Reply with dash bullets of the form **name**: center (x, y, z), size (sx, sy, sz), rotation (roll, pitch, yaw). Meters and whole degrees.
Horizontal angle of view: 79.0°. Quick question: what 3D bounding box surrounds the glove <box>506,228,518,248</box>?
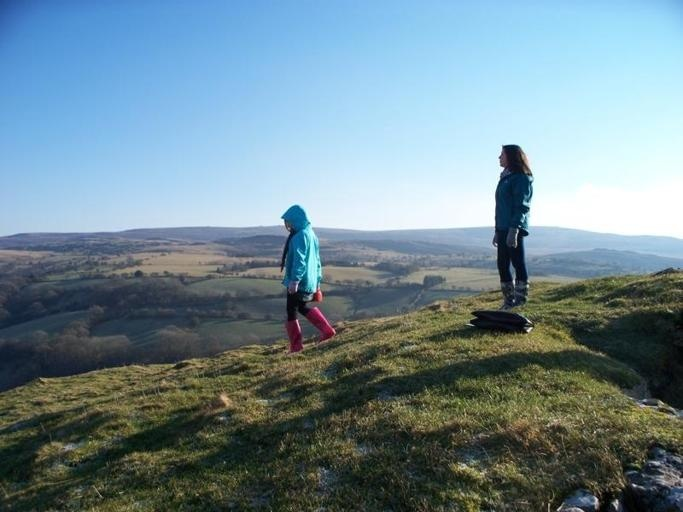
- **glove**: center (4.894, -0.501, 11.839), size (0.301, 0.597, 0.474), rotation (-6, 6, 33)

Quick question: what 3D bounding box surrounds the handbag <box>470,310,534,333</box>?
- **handbag**: center (3.987, 1.652, 10.318), size (0.867, 0.299, 0.731), rotation (0, -1, 27)

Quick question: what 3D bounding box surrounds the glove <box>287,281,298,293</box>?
- **glove**: center (-1.392, 0.901, 11.784), size (0.342, 0.302, 0.262), rotation (-10, 5, -8)
